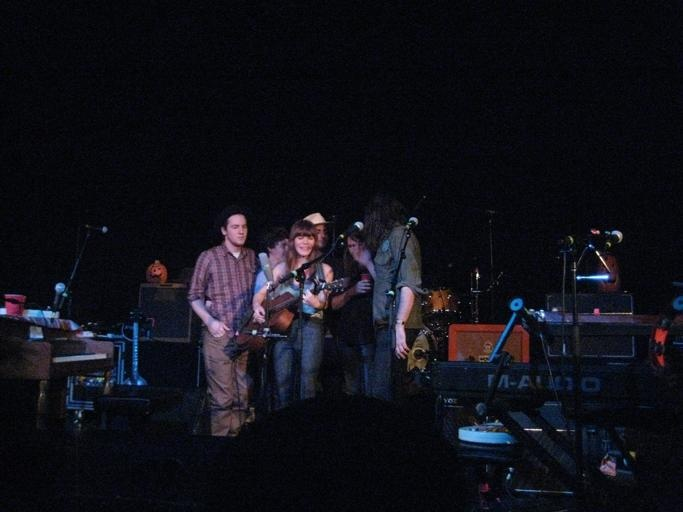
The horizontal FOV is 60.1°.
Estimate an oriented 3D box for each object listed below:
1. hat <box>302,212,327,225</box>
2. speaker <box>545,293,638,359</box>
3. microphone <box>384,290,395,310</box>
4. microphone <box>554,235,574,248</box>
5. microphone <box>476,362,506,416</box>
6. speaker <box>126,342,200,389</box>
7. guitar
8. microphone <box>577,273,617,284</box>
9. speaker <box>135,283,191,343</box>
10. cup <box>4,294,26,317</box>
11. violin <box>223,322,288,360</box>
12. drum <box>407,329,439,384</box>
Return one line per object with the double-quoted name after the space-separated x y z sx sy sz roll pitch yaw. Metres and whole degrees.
-0.256 -0.393 6.051 0.199 0.072 0.214 2 -16 -30 "hat"
1.848 0.499 4.377 0.559 0.429 0.329 0 -5 4 "speaker"
0.366 0.315 4.497 0.033 0.122 0.069 10 -10 -40 "microphone"
1.648 -0.094 4.324 0.116 0.111 0.297 -1 -5 21 "microphone"
0.913 0.810 3.613 0.140 0.347 0.168 4 -6 -39 "microphone"
-2.230 1.384 7.792 1.019 0.592 0.706 5 -7 5 "speaker"
-0.306 0.386 5.076 0.741 0.377 0.120 -28 -27 33 "guitar"
2.248 0.177 5.190 0.430 0.097 0.254 0 0 6 "microphone"
-2.277 0.745 7.636 0.783 0.828 0.467 -1 -4 7 "speaker"
-2.786 0.413 5.047 0.167 0.150 0.155 0 -10 0 "cup"
-0.780 0.736 5.280 0.480 0.083 0.209 -16 30 20 "violin"
0.731 0.940 5.619 0.174 0.520 0.497 7 -18 -12 "drum"
